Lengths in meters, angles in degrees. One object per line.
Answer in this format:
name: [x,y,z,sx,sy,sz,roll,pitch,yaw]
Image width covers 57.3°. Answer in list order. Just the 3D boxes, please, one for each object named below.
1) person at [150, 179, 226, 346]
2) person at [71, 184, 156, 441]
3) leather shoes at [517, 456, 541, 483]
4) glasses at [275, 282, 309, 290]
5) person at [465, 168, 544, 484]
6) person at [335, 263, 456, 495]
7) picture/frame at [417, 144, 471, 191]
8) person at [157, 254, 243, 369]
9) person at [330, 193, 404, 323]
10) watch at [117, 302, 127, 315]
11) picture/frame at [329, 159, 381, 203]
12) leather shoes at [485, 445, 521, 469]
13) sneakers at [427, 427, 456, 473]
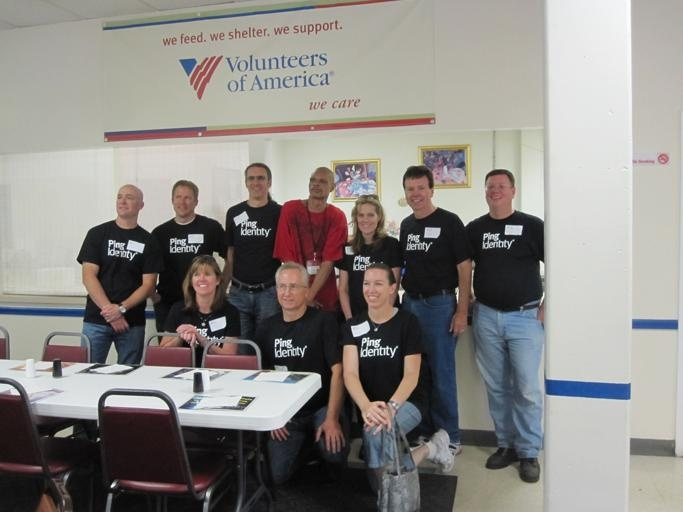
person: [-1.400,0.208,5.275,0.839,1.599,0.491,2,4,-17]
person: [-1.822,0.438,5.067,0.684,1.960,0.573,3,8,-16]
leather shoes: [1.315,1.497,4.399,0.150,0.127,0.201,1,6,16]
glasses: [-0.328,0.202,4.200,0.208,0.053,0.088,-3,6,-17]
person: [1.174,0.464,4.506,0.540,2.166,0.592,0,7,11]
person: [0.322,0.793,4.053,0.690,1.448,0.908,1,7,17]
picture/frame: [0.876,-0.769,5.373,0.500,0.410,0.036,1,3,34]
person: [-1.005,0.467,4.493,0.585,0.909,0.523,0,4,-15]
person: [0.203,0.240,4.843,0.573,1.304,0.350,-2,-2,26]
watch: [-1.735,0.424,4.933,0.057,0.084,0.085,-2,-5,-35]
picture/frame: [0.128,-0.746,6.148,0.568,0.456,0.039,6,16,28]
leather shoes: [1.165,1.498,4.643,0.284,0.169,0.109,2,-2,-26]
sneakers: [0.668,1.369,4.305,0.177,0.395,0.145,-30,37,-14]
